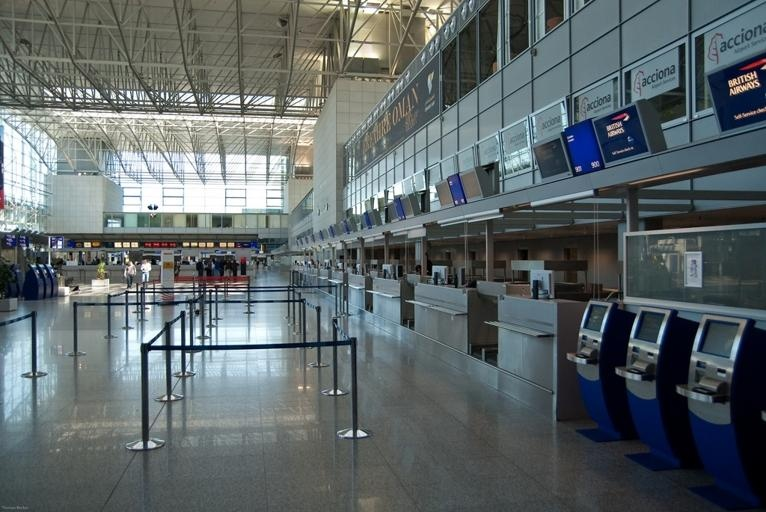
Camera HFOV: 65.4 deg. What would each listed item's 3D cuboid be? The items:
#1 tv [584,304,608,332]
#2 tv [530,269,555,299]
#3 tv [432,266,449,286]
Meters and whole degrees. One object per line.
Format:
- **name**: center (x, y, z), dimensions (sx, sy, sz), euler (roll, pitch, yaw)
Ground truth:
- **tv**: center (3.075, 0.896, 8.601), dimensions (0.080, 0.344, 0.335), euler (22, -7, -27)
- **tv**: center (2.739, 0.505, 10.297), dimensions (0.153, 0.432, 0.476), euler (-1, 2, -26)
- **tv**: center (1.355, 0.492, 14.240), dimensions (0.160, 0.337, 0.410), euler (-2, 4, -28)
